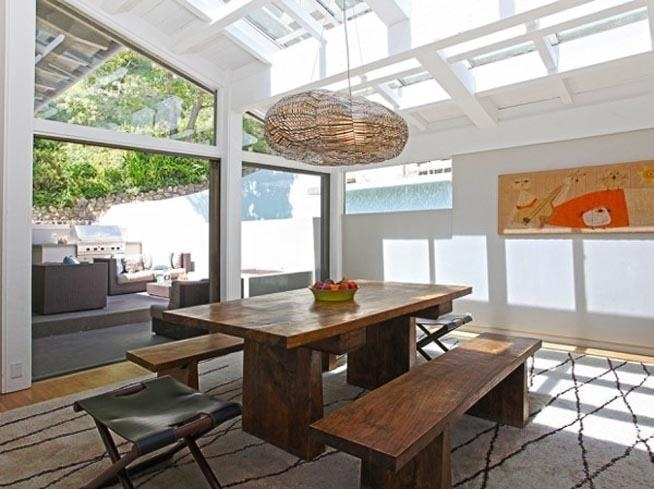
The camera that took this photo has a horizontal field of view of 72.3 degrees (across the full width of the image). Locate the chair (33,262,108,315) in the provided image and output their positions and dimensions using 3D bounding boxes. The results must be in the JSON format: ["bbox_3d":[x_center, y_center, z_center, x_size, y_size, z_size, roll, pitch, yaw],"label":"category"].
[{"bbox_3d":[-3.572,0.609,6.286,0.752,0.554,0.783,5,4,43],"label":"chair"}]

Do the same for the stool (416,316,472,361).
[{"bbox_3d":[1.159,0.931,4.933,0.677,0.485,0.606,-6,-5,33],"label":"stool"}]

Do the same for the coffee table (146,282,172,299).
[{"bbox_3d":[-2.992,0.816,7.948,0.425,0.180,0.295,4,5,39],"label":"coffee table"}]
